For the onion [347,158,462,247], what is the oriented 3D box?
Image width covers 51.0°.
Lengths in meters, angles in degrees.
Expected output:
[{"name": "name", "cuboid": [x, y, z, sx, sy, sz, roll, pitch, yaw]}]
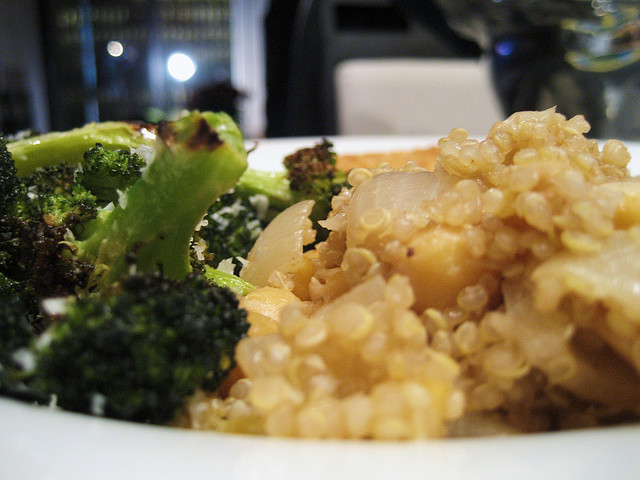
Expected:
[{"name": "onion", "cuboid": [0.166, -0.105, 1.422, 0.207, 0.061, 0.189, -31, 29, -4]}]

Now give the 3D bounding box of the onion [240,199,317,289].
[{"name": "onion", "cuboid": [-0.102, 0.012, 1.778, 0.235, 0.071, 0.203, -39, 19, 15]}]

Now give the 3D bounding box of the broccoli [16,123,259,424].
[{"name": "broccoli", "cuboid": [-0.361, 0.053, 1.314, 0.464, 0.532, 0.358, -5, 15, -4]}]

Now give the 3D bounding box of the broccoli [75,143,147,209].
[{"name": "broccoli", "cuboid": [-0.559, -0.175, 1.797, 0.145, 0.081, 0.173, -20, -35, 24]}]

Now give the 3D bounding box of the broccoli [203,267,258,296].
[{"name": "broccoli", "cuboid": [-0.232, 0.107, 1.759, 0.108, 0.029, 0.071, 16, 2, 1]}]

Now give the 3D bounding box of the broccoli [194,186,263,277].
[{"name": "broccoli", "cuboid": [-0.291, -0.064, 2.396, 0.211, 0.161, 0.299, -36, 28, -22]}]

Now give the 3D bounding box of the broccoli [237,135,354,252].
[{"name": "broccoli", "cuboid": [-0.020, -0.182, 2.357, 0.438, 0.311, 0.255, 12, 3, 17]}]
